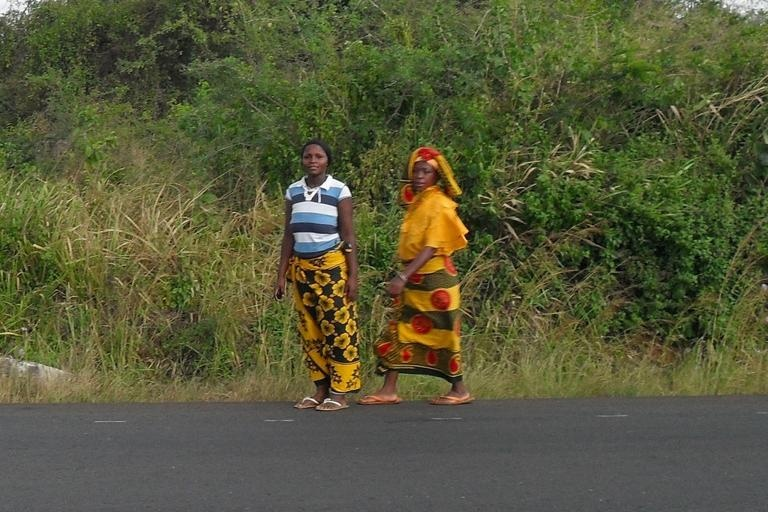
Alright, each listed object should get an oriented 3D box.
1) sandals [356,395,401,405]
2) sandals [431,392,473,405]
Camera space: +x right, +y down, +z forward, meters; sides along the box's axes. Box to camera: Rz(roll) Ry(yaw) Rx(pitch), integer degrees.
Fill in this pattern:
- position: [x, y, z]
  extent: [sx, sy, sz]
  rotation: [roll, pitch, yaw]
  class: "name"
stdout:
- position: [-0.059, 1.612, 10.970]
  extent: [0.405, 0.159, 0.097]
  rotation: [3, 84, -13]
  class: "sandals"
- position: [0.737, 1.604, 10.981]
  extent: [0.359, 0.165, 0.088]
  rotation: [1, 87, -21]
  class: "sandals"
